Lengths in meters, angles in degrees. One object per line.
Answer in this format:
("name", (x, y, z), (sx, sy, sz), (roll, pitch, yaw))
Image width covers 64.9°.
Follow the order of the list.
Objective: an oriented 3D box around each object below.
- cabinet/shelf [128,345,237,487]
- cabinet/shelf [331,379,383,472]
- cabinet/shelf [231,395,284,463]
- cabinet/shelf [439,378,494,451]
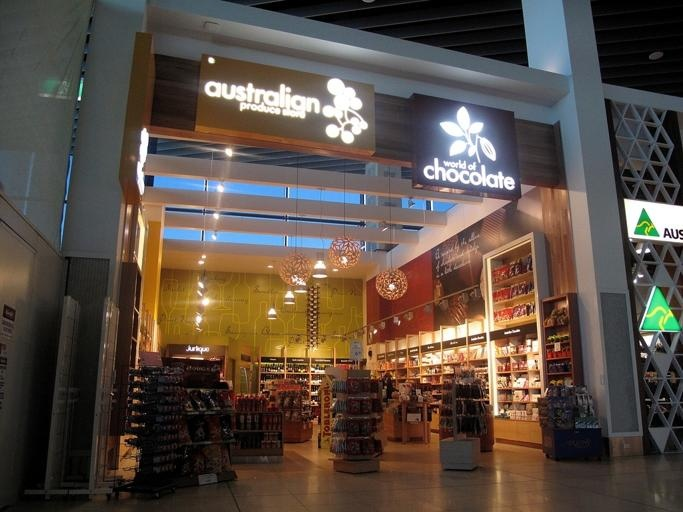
("cabinet/shelf", (-2.366, 2.424, 7.911), (0.820, 2.340, 1.960), (-13, -15, 23))
("cabinet/shelf", (0.274, 2.798, 8.974), (0.856, 1.516, 0.775), (2, -17, -6))
("cabinet/shelf", (-1.560, 3.213, 9.965), (0.885, 1.129, 0.603), (3, -17, -11))
("cabinet/shelf", (2.503, 2.887, 10.099), (0.695, 1.464, 1.423), (-1, 15, 16))
